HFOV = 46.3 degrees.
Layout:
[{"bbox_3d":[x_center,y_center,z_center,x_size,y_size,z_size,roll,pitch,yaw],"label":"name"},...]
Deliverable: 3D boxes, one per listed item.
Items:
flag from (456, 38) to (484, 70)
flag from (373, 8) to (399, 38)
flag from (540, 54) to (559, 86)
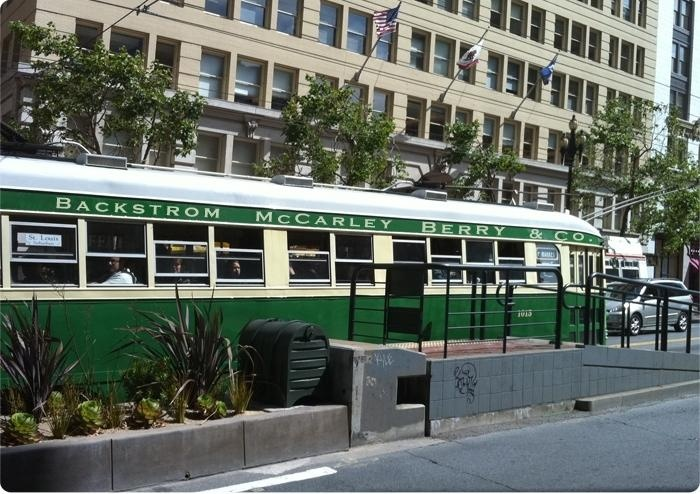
[{"bbox_3d":[4.453,-7.075,30.104,0.694,1.249,1.500,-2,-8,16],"label":"flag"},{"bbox_3d":[1.214,-7.598,27.835,0.720,1.090,0.835,1,-7,-6],"label":"flag"},{"bbox_3d":[8.906,-8.010,36.759,0.726,0.597,3.417,-47,-4,31],"label":"flag"}]
